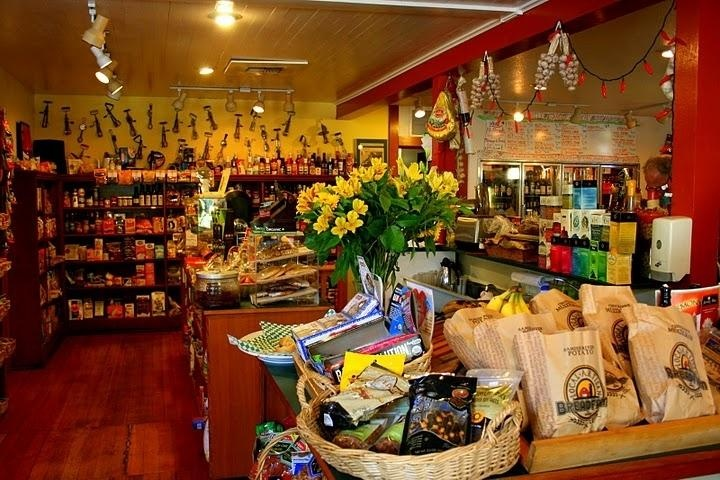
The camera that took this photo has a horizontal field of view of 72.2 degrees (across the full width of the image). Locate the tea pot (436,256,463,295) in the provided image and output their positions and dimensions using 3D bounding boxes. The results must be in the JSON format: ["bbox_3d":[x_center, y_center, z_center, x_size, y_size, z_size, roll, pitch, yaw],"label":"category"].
[{"bbox_3d":[0.929,0.338,4.629,0.319,0.310,0.194,6,7,39],"label":"tea pot"}]

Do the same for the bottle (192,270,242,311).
[{"bbox_3d":[-1.041,0.367,3.614,0.278,0.209,0.275,1,0,0],"label":"bottle"}]

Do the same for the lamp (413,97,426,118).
[{"bbox_3d":[0.945,-2.109,7.891,0.136,0.303,0.464,2,5,4],"label":"lamp"}]

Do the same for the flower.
[{"bbox_3d":[0.103,-0.067,2.245,0.764,0.606,0.328,1,5,-8],"label":"flower"}]

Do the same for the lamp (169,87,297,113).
[{"bbox_3d":[-2.013,-2.200,7.823,1.921,0.407,0.900,1,5,-5],"label":"lamp"}]
